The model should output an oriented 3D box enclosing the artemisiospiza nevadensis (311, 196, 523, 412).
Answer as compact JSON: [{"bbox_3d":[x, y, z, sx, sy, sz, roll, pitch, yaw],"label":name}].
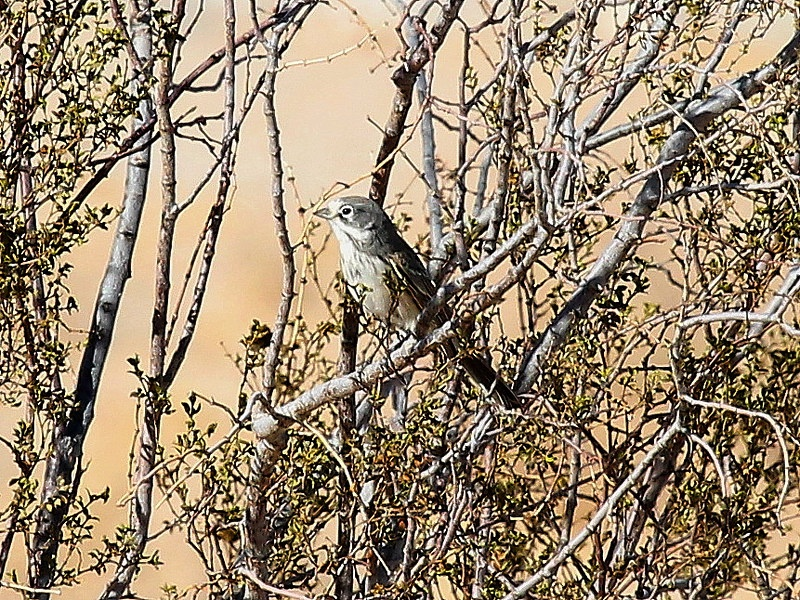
[{"bbox_3d":[0.115,-0.090,9.093,1.608,0.512,0.793,17,-100,-34],"label":"artemisiospiza nevadensis"}]
